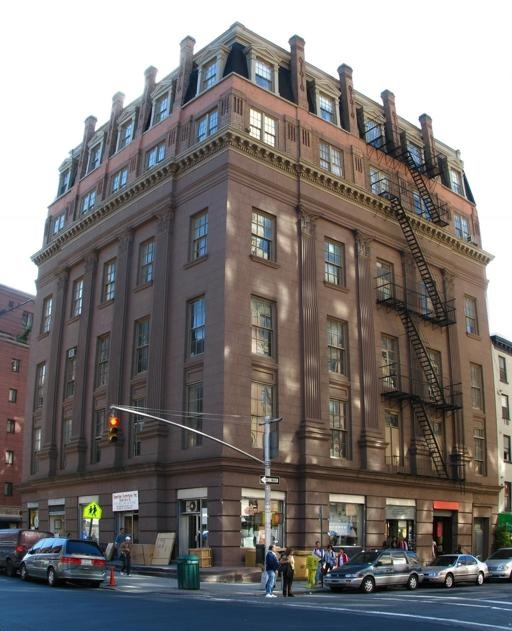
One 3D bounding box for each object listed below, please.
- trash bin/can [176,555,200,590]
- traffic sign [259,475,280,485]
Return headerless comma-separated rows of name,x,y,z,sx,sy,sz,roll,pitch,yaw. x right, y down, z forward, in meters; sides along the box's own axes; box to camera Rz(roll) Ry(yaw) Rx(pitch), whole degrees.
trash bin/can,-2.367,8.853,21.676,0.824,1.102,0.684,-4,-21,9
traffic sign,0.439,6.190,23.717,0.706,0.395,0.493,5,-21,-15
